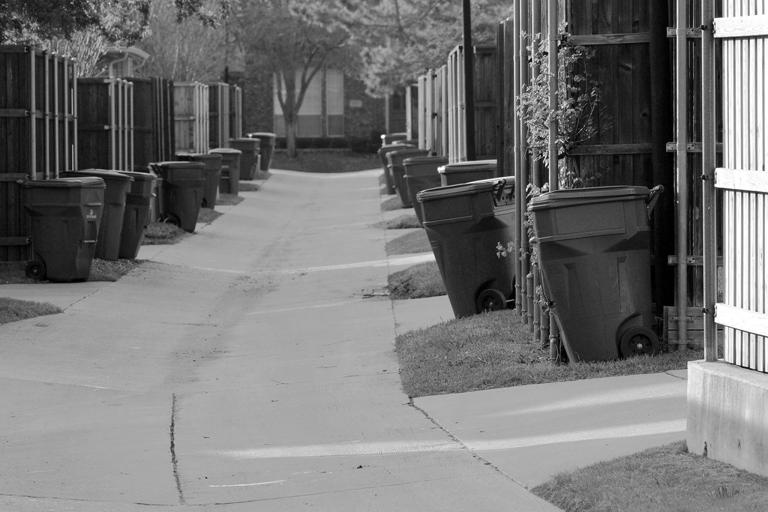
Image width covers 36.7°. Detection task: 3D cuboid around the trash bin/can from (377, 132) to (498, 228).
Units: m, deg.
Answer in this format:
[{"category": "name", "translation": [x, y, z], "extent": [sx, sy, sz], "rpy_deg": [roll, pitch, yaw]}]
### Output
[{"category": "trash bin/can", "translation": [1.209, -1.387, 24.195], "extent": [2.171, 1.356, 1.429], "rpy_deg": [-2, 6, -3]}]
